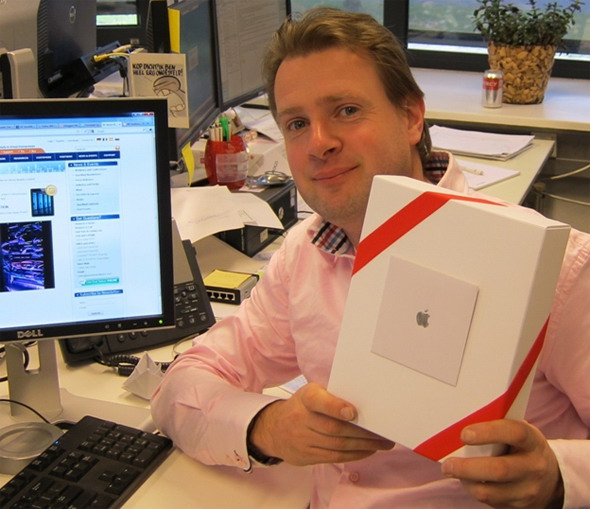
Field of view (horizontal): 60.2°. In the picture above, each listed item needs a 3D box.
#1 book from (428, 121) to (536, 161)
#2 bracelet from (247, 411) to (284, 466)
[{"bbox_3d":[0.824,-0.511,2.323,0.394,0.068,0.370,13,34,26],"label":"book"},{"bbox_3d":[-0.057,0.302,0.826,0.053,0.078,0.049,-6,15,-28],"label":"bracelet"}]
